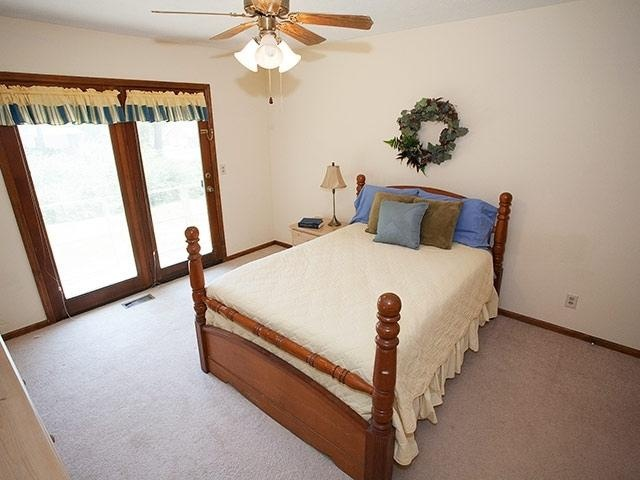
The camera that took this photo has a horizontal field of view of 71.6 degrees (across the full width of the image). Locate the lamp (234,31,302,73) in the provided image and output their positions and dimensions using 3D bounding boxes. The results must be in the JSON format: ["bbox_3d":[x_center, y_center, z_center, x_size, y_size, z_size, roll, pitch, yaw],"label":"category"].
[{"bbox_3d":[-0.365,-1.269,3.031,0.351,0.218,0.305,10,19,29],"label":"lamp"}]

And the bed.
[{"bbox_3d":[0.561,0.387,3.903,1.753,1.307,2.324,10,17,39],"label":"bed"}]
